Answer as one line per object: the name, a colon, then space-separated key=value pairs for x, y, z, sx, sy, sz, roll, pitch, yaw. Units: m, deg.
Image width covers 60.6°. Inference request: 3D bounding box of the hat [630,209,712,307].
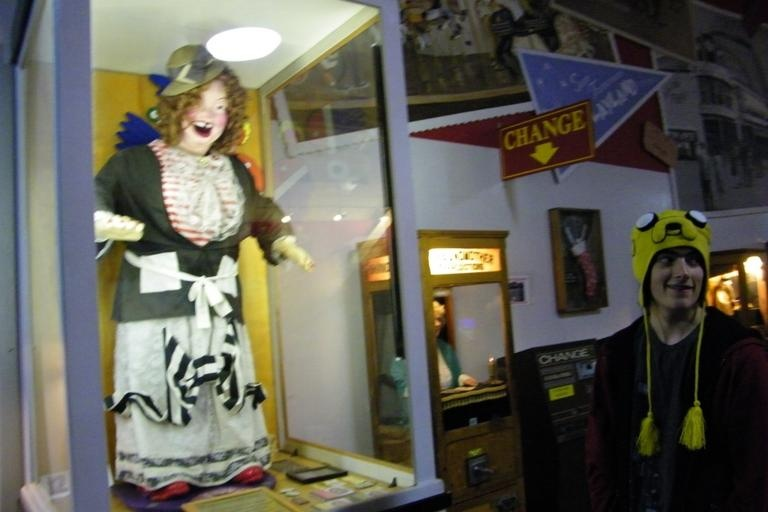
hat: x=1.430 y=-0.001 z=3.269 sx=0.373 sy=0.428 sz=0.470 roll=2 pitch=-13 yaw=5
